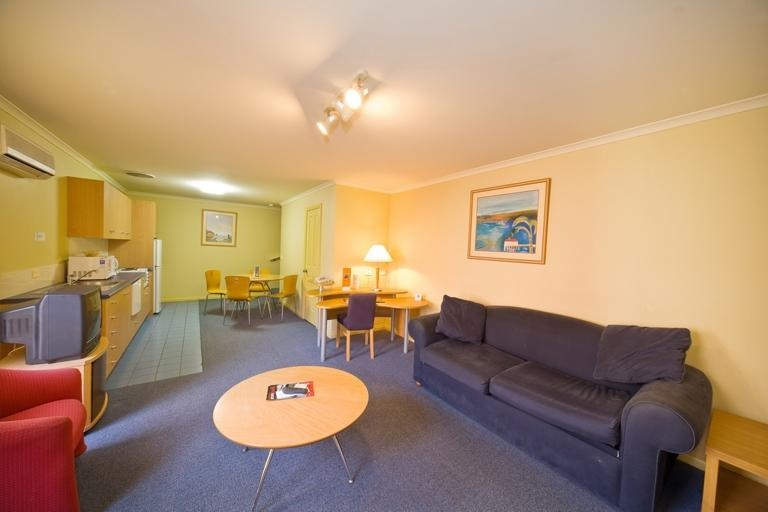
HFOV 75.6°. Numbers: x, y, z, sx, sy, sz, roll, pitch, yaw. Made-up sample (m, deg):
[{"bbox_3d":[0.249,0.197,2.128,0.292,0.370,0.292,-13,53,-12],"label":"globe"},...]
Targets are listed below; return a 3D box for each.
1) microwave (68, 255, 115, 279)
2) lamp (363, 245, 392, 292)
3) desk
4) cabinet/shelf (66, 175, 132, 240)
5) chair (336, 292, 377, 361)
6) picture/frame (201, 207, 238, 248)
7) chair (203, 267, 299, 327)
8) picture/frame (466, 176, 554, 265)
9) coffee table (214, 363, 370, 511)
[{"bbox_3d":[-3.440,0.155,5.822,0.277,0.194,0.374,0,1,-19],"label":"microwave"},{"bbox_3d":[-0.098,0.178,7.055,0.411,0.670,0.416,4,11,18],"label":"lamp"},{"bbox_3d":[-0.306,0.830,6.639,1.252,0.571,0.832,-3,6,18],"label":"desk"},{"bbox_3d":[-3.509,-0.565,6.056,0.341,0.587,0.966,-1,0,-13],"label":"cabinet/shelf"},{"bbox_3d":[-0.368,0.836,6.452,0.532,0.857,0.899,0,10,-5],"label":"chair"},{"bbox_3d":[-3.128,-0.527,9.302,0.742,0.821,0.042,6,2,-40],"label":"picture/frame"},{"bbox_3d":[-2.180,0.575,8.168,1.113,0.494,1.089,1,5,-12],"label":"chair"},{"bbox_3d":[1.474,-0.390,5.661,0.040,0.940,0.992,2,4,-40],"label":"picture/frame"},{"bbox_3d":[-0.845,1.343,4.422,1.154,0.630,1.137,-4,21,-21],"label":"coffee table"}]
